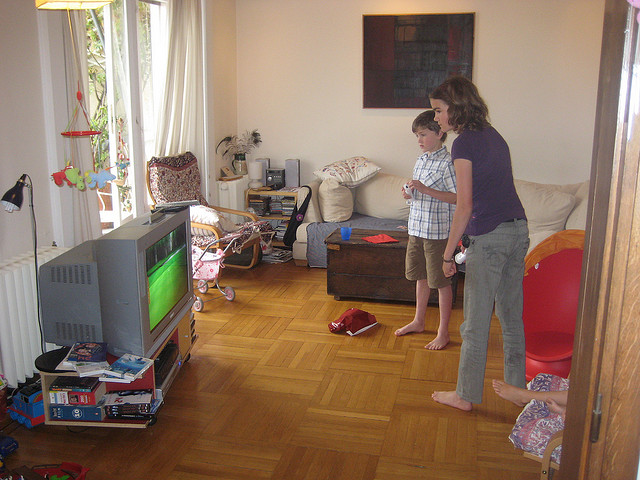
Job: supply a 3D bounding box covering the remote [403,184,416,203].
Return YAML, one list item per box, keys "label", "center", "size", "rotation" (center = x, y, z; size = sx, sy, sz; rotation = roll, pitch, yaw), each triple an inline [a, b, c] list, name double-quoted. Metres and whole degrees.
- label: "remote"
  center: [0.624, -0.333, 3.508]
  size: [0.034, 0.115, 0.083]
  rotation: [-20, 57, 6]

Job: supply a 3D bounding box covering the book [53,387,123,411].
- label: "book"
  center: [-1.294, 0.847, 2.691]
  size: [0.200, 0.049, 0.212]
  rotation: [-1, 3, -13]

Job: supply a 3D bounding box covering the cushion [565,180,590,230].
- label: "cushion"
  center: [2.350, -0.278, 4.537]
  size: [0.164, 0.338, 1.102]
  rotation: [5, 17, 27]

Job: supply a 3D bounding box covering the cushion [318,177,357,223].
- label: "cushion"
  center: [0.160, -0.439, 5.485]
  size: [0.384, 0.451, 0.257]
  rotation: [-3, 16, -1]

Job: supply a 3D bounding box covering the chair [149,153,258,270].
- label: "chair"
  center: [-1.216, -0.223, 5.213]
  size: [1.095, 1.210, 0.818]
  rotation: [12, 19, 17]

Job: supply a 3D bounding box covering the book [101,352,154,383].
- label: "book"
  center: [-1.047, 0.673, 2.671]
  size: [0.164, 0.034, 0.158]
  rotation: [9, 27, 17]

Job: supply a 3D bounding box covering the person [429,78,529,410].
- label: "person"
  center: [0.874, 0.026, 2.780]
  size: [0.590, 1.788, 0.339]
  rotation: [6, 18, 28]

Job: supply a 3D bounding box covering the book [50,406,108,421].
- label: "book"
  center: [-1.329, 0.928, 2.689]
  size: [0.138, 0.032, 0.148]
  rotation: [1, 3, 9]

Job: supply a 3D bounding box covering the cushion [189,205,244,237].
- label: "cushion"
  center: [-1.037, -0.155, 4.901]
  size: [0.382, 0.111, 0.344]
  rotation: [4, 8, -43]

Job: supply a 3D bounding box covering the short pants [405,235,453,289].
- label: "short pants"
  center: [0.786, 0.145, 3.559]
  size: [0.213, 0.340, 0.361]
  rotation: [-4, 10, -25]

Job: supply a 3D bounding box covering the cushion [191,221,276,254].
- label: "cushion"
  center: [-0.896, -0.079, 5.050]
  size: [0.488, 0.183, 0.460]
  rotation: [7, 18, 26]

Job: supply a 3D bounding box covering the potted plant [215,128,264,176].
- label: "potted plant"
  center: [-1.024, -1.085, 6.274]
  size: [0.614, 0.543, 0.591]
  rotation: [-1, 10, 1]

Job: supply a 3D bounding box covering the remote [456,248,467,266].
- label: "remote"
  center: [0.835, 0.101, 2.932]
  size: [0.023, 0.077, 0.055]
  rotation: [34, 1, -14]

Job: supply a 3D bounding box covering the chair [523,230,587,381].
- label: "chair"
  center: [1.451, 0.432, 3.159]
  size: [0.332, 0.898, 0.676]
  rotation: [5, 17, 27]

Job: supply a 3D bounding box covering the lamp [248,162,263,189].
- label: "lamp"
  center: [-0.808, -0.771, 6.001]
  size: [0.155, 0.302, 0.148]
  rotation: [-3, 16, 0]

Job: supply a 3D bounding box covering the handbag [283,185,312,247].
- label: "handbag"
  center: [-0.288, -0.254, 5.582]
  size: [0.151, 0.606, 0.437]
  rotation: [17, -1, -8]

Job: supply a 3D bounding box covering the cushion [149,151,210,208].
- label: "cushion"
  center: [-1.521, -0.607, 5.252]
  size: [0.361, 0.559, 0.727]
  rotation: [0, 15, 11]

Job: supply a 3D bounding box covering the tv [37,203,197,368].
- label: "tv"
  center: [-1.245, 0.223, 3.095]
  size: [0.719, 0.682, 0.864]
  rotation: [1, 16, -3]

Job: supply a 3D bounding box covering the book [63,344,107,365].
- label: "book"
  center: [-1.275, 0.611, 2.680]
  size: [0.123, 0.028, 0.119]
  rotation: [0, 25, 2]

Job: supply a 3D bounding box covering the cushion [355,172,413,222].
- label: "cushion"
  center: [0.673, -0.450, 5.377]
  size: [0.610, 0.395, 0.209]
  rotation: [9, -19, 26]
